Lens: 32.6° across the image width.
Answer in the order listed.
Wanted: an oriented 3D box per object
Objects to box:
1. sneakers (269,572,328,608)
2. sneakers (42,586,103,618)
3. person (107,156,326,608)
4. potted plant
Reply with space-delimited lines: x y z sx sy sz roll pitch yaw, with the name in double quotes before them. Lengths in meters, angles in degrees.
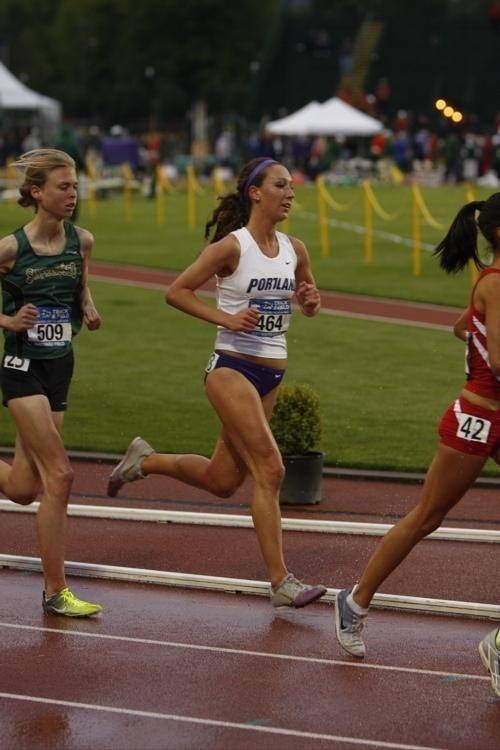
"sneakers" 0.182 0.859 3.471 0.280 0.132 0.098 -10 30 38
"sneakers" -0.757 0.962 3.643 0.296 0.120 0.106 3 0 5
"person" -0.076 0.028 3.792 0.826 1.937 1.070 -1 6 -9
"potted plant" 0.238 0.445 5.564 0.427 0.783 0.386 -3 -9 0
